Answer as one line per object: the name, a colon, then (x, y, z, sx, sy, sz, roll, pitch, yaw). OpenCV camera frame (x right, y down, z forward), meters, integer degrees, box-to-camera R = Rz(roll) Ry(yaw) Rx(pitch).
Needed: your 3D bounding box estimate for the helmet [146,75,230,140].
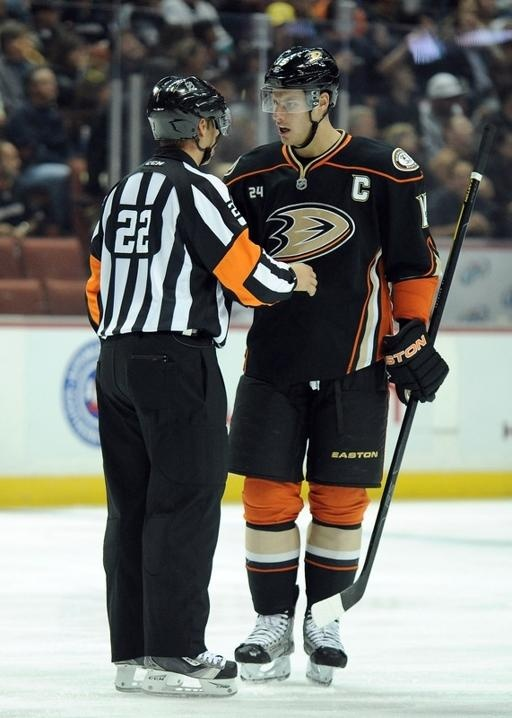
helmet: (-0.163, -0.575, 2.296, 0.167, 0.118, 0.213, 11, 13, 32)

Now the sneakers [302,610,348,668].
sneakers: (0.174, 0.698, 2.471, 0.098, 0.101, 0.269, 1, -7, -4)

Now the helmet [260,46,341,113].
helmet: (0.123, -0.707, 2.489, 0.210, 0.152, 0.148, -17, 37, -21)

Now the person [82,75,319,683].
person: (-0.151, 0.096, 2.266, 0.479, 1.453, 0.570, 1, 19, -9)

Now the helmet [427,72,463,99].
helmet: (1.261, -1.823, 6.573, 0.218, 0.110, 0.220, -12, 18, 3)

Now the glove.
glove: (0.392, -0.002, 2.581, 0.171, 0.227, 0.081, -31, 29, -4)
